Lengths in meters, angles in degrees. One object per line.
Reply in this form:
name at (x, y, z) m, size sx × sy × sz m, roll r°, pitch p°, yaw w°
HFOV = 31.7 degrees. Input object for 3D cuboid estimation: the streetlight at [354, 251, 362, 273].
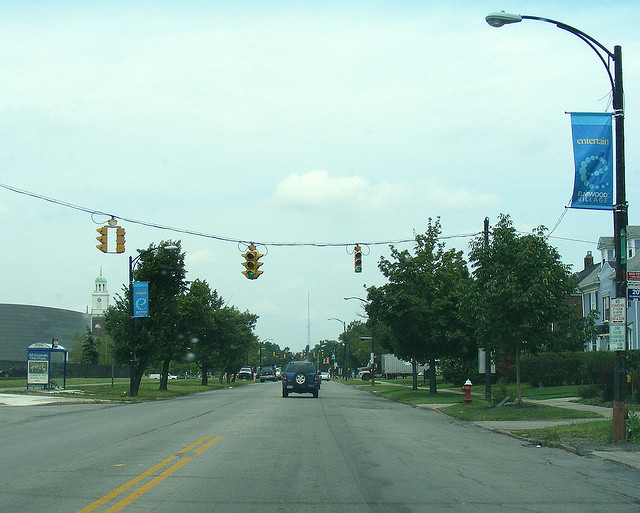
streetlight at (1.746, 0.238, 51.007) m, size 0.223 × 0.903 × 0.456 m, roll 1°, pitch -9°, yaw -11°

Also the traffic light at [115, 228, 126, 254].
traffic light at (-7.914, -0.642, 44.481) m, size 0.297 × 1.000 × 0.513 m, roll 1°, pitch -9°, yaw -15°

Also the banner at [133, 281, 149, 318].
banner at (-8.983, 2.199, 56.376) m, size 0.942 × 2.088 × 0.066 m, roll 2°, pitch -37°, yaw -15°

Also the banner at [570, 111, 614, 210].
banner at (8.428, -2.959, 34.790) m, size 1.544 × 0.227 × 3.609 m, roll 5°, pitch -48°, yaw 20°
